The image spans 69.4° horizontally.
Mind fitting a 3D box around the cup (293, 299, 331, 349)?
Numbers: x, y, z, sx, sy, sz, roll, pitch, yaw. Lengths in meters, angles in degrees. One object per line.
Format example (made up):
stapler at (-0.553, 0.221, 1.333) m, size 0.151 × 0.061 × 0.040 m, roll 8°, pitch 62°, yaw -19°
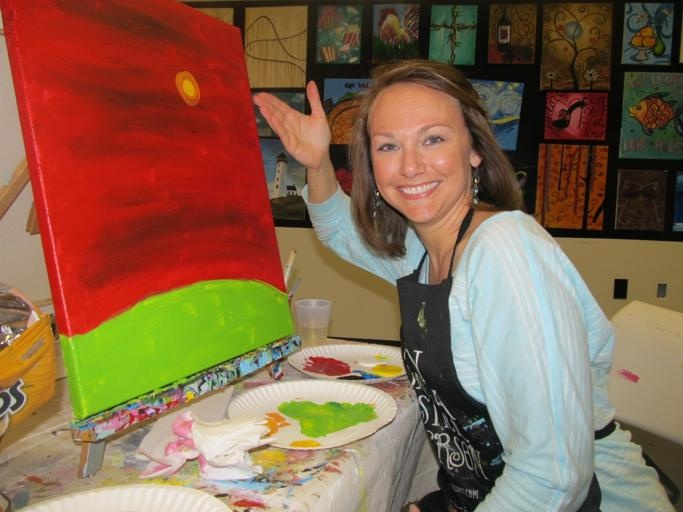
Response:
cup at (-0.077, 0.204, 1.576) m, size 0.132 × 0.189 × 0.134 m, roll -1°, pitch 7°, yaw 0°
